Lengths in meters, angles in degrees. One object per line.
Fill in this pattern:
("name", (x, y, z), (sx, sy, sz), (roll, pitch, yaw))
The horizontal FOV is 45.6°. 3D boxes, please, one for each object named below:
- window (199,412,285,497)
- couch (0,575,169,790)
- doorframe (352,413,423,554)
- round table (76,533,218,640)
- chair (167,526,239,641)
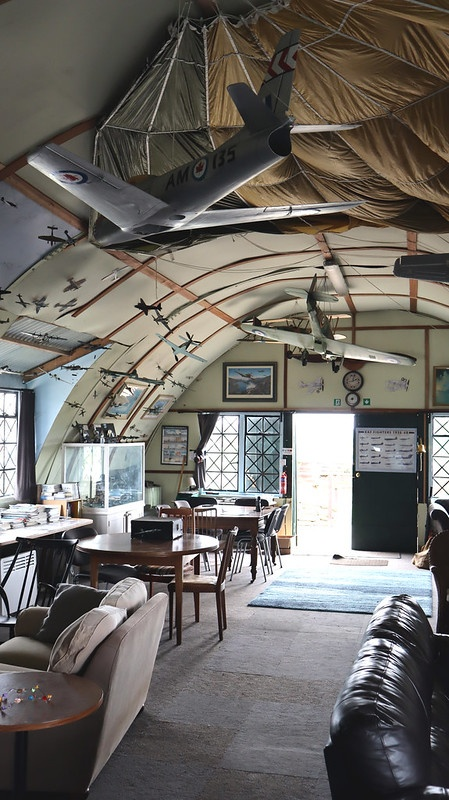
("window", (0.436, 1.135, 11.444), (1.499, 1.670, 0.208), (2, -12, 18))
("couch", (-0.638, 1.557, 2.919), (0.380, 0.817, 0.932), (-1, -7, 16))
("doorframe", (3.229, 1.653, 10.786), (1.311, 2.964, 0.149), (0, 11, 13))
("round table", (-0.748, 1.612, 5.452), (1.041, 0.722, 1.064), (1, -8, 0))
("chair", (-0.235, 1.859, 5.615), (0.626, 1.095, 0.606), (2, -7, 5))
